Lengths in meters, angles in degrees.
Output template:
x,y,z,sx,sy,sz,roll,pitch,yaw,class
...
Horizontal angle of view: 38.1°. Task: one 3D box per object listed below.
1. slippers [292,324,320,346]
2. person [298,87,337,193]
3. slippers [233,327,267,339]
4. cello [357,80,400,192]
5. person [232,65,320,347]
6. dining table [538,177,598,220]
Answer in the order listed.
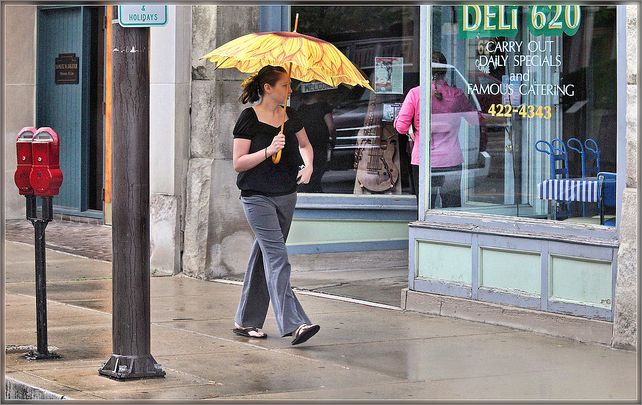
x,y,z,sx,sy,sz,roll,pitch,yaw,class
-0.161,1.408,9.943,0.290,0.249,0.289,0,11,-2,slippers
-0.067,-0.884,13.867,0.582,1.410,0.614,1,-1,-3,person
-0.765,1.421,10.223,0.288,0.071,0.136,4,8,23,slippers
0.867,-0.889,13.848,0.626,1.450,0.517,-2,0,-2,cello
-0.402,0.033,10.029,1.069,2.955,1.610,2,2,-29,person
2.823,-0.094,10.517,0.330,0.591,0.995,3,0,-31,dining table
